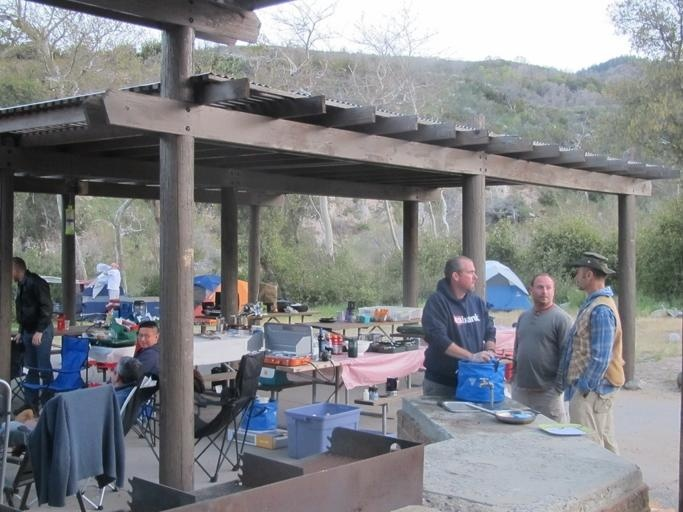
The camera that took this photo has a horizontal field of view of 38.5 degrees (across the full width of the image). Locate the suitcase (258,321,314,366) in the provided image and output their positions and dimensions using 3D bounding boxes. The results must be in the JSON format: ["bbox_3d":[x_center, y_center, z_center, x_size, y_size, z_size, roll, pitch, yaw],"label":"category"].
[{"bbox_3d":[-0.687,1.087,12.166,0.757,0.564,0.416,-1,-3,42],"label":"suitcase"}]

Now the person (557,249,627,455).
[{"bbox_3d":[2.580,1.000,10.040,0.529,2.085,0.644,7,4,29],"label":"person"}]

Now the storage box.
[{"bbox_3d":[-0.206,2.035,11.299,0.848,0.571,0.534,-2,0,-2],"label":"storage box"}]

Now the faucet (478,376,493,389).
[{"bbox_3d":[1.385,1.221,9.413,0.122,0.133,0.082,-4,8,-5],"label":"faucet"}]

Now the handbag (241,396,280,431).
[{"bbox_3d":[-0.989,1.956,12.030,0.401,0.393,0.406,0,0,7],"label":"handbag"}]
